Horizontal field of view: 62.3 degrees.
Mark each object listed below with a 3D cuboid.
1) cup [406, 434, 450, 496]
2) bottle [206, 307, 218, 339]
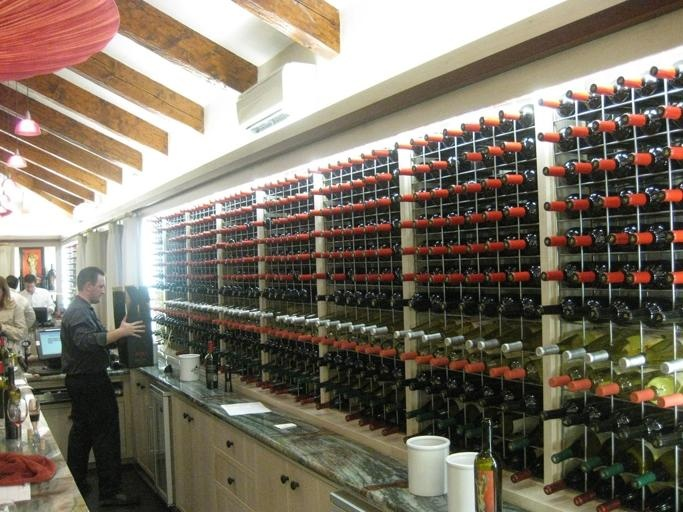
[{"bbox_3d":[0.341,0.907,2.502,0.257,0.225,0.235,0,-5,0],"label":"cup"},{"bbox_3d":[-1.143,0.563,5.035,0.099,0.259,0.174,4,25,5],"label":"bottle"}]
